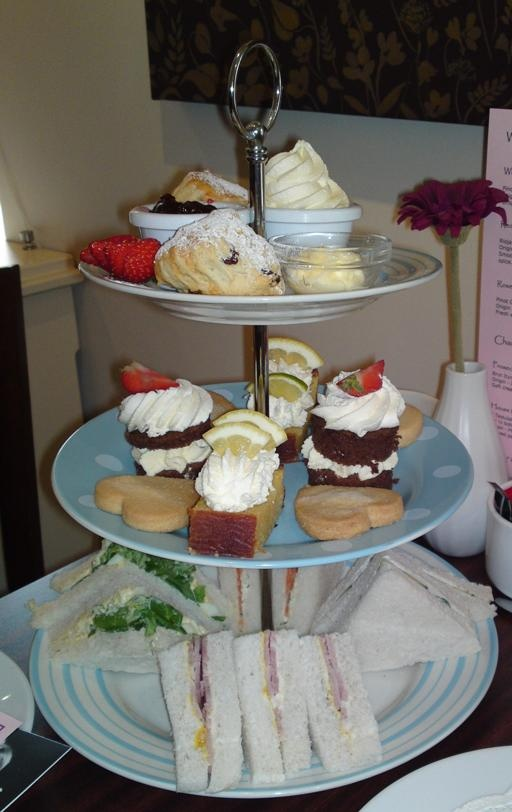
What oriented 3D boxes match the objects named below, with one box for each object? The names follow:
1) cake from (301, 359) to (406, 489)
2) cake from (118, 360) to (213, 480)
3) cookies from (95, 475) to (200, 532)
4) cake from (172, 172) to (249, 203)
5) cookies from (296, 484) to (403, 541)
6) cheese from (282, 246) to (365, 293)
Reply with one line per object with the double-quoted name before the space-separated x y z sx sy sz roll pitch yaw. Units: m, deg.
"cake" 0.109 0.022 0.770 0.103 0.135 0.085 -1 18 12
"cake" -0.101 0.024 0.774 0.110 0.128 0.166 -6 18 -4
"cookies" -0.112 0.092 0.694 0.105 0.025 0.110 12 13 15
"cake" -0.053 -0.247 0.772 0.074 0.026 0.058 11 19 12
"cookies" 0.092 0.104 0.683 0.116 0.029 0.135 1 8 14
"cheese" 0.056 -0.114 0.569 0.059 0.031 0.052 -1 24 2
